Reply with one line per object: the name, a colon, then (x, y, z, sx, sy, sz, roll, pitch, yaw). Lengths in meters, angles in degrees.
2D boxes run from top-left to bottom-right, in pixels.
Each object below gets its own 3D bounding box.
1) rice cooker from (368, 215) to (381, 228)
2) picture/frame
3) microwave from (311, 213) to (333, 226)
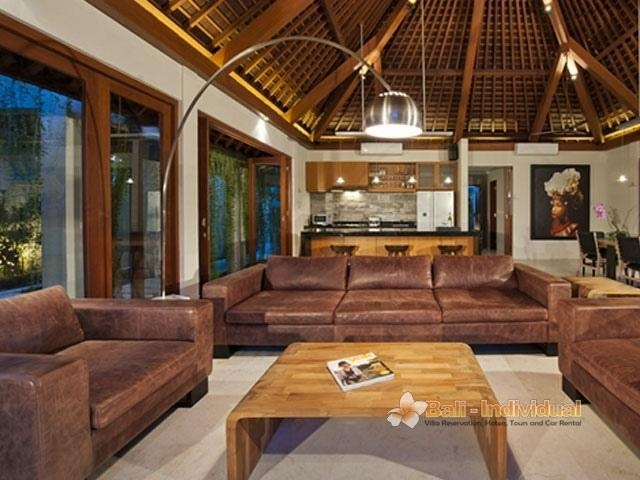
rice cooker: (1.271, -0.434, 11.053, 0.274, 0.225, 0.276, 0, -5, 3)
picture/frame: (5.520, -0.896, 10.744, 1.672, 2.285, 0.107, 0, -2, 2)
microwave: (0.047, -0.457, 10.626, 0.299, 0.192, 0.303, 0, -3, 9)
